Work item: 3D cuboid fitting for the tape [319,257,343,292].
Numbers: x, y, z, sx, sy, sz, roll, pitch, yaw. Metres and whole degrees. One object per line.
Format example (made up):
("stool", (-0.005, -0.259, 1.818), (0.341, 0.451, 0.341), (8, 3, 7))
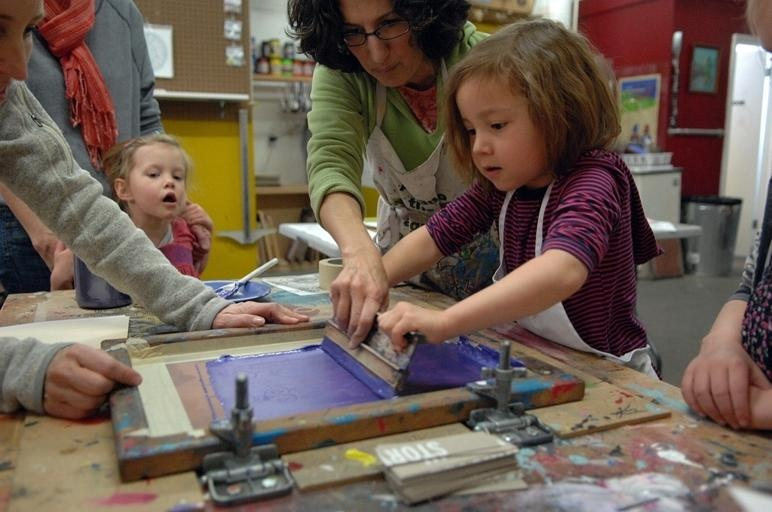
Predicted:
("tape", (-0.205, 0.058, 2.031), (0.127, 0.106, 0.128), (-5, 5, -10))

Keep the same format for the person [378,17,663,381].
("person", (0.441, -0.193, 2.210), (0.986, 1.542, 0.760), (-1, 1, -19))

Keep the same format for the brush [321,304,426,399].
("brush", (-0.050, 0.220, 1.447), (0.049, 0.153, 0.300), (19, 4, -43))

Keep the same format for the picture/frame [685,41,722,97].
("picture/frame", (2.898, -1.641, 5.320), (0.408, 0.406, 0.043), (4, 10, -2))
